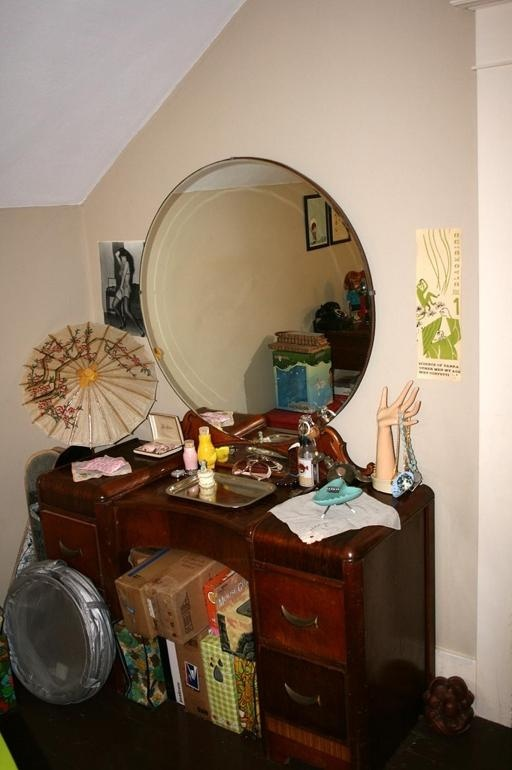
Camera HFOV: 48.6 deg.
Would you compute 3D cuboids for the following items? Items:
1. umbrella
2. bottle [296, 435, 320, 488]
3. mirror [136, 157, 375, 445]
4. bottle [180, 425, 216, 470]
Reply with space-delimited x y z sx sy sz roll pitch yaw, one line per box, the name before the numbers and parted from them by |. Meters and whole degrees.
umbrella | -0.636 0.024 2.148 0.586 0.592 0.250 -10 -32 -13
bottle | 0.162 0.224 1.800 0.058 0.197 0.059 -4 19 1
mirror | 0.017 -0.290 1.888 0.937 0.965 0.043 13 21 34
bottle | -0.209 0.231 2.079 0.159 0.214 0.107 -1 1 -13
